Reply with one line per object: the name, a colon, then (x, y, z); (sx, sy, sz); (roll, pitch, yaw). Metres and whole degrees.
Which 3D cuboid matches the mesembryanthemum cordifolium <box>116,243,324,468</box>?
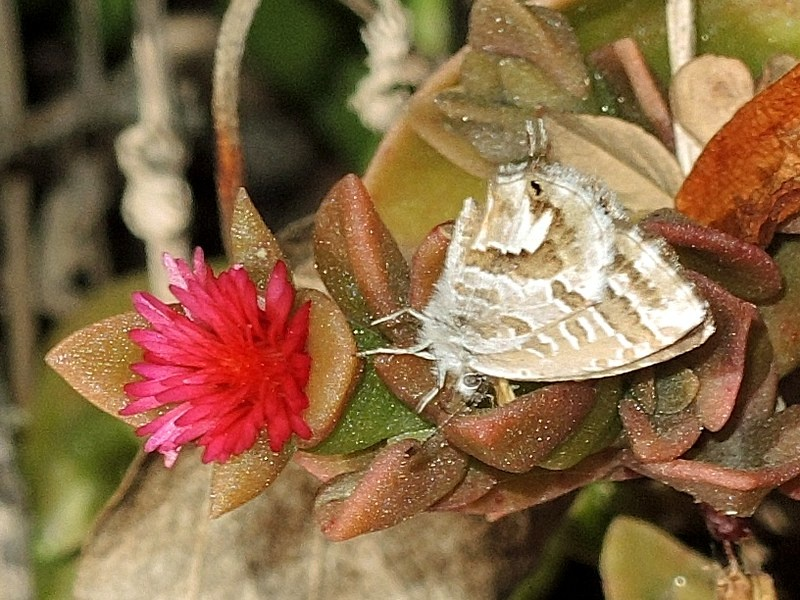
mesembryanthemum cordifolium: (-0.141, 0.046, 0.988); (0.148, 0.149, 0.148); (-3, 37, -5)
